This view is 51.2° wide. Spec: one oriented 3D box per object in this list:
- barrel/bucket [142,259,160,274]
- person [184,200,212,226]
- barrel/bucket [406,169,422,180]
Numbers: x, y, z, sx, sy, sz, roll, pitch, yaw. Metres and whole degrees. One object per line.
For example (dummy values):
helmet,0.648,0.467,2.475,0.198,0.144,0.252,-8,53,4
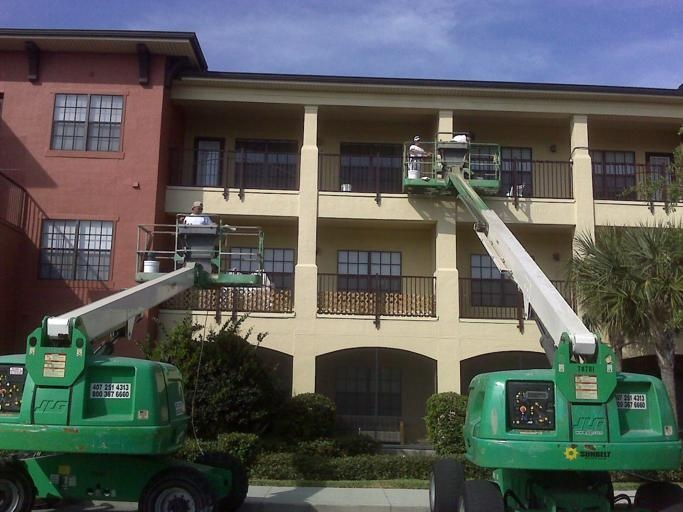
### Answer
barrel/bucket,-4.359,0.265,16.255,0.293,0.241,0.311,0,-6,0
person,-3.787,-1.123,18.849,0.839,0.782,0.429,4,-12,-41
barrel/bucket,2.264,-2.540,22.345,0.330,0.352,0.336,2,-9,0
